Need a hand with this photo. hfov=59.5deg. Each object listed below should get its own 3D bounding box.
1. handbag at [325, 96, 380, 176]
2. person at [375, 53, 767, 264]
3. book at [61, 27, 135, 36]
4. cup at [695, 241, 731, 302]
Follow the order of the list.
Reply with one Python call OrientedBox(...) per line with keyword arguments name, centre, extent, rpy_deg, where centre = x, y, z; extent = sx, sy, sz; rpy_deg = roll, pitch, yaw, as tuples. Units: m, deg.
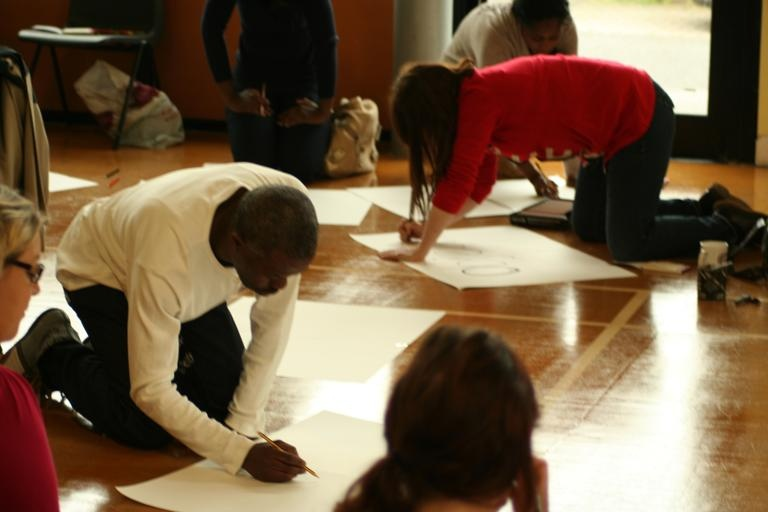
OrientedBox(name="handbag", centre=(-0.199, -0.814, 4.489), extent=(0.246, 0.519, 0.393), rpy_deg=(-4, 43, -21))
OrientedBox(name="person", centre=(0.724, -0.427, 3.256), extent=(1.826, 1.143, 0.826), rpy_deg=(2, 5, -2))
OrientedBox(name="book", centre=(-2.299, -1.808, 5.367), extent=(0.547, 0.053, 0.371), rpy_deg=(2, 20, -4))
OrientedBox(name="cup", centre=(1.382, 0.069, 2.787), extent=(0.153, 0.245, 0.164), rpy_deg=(1, -1, 0))
